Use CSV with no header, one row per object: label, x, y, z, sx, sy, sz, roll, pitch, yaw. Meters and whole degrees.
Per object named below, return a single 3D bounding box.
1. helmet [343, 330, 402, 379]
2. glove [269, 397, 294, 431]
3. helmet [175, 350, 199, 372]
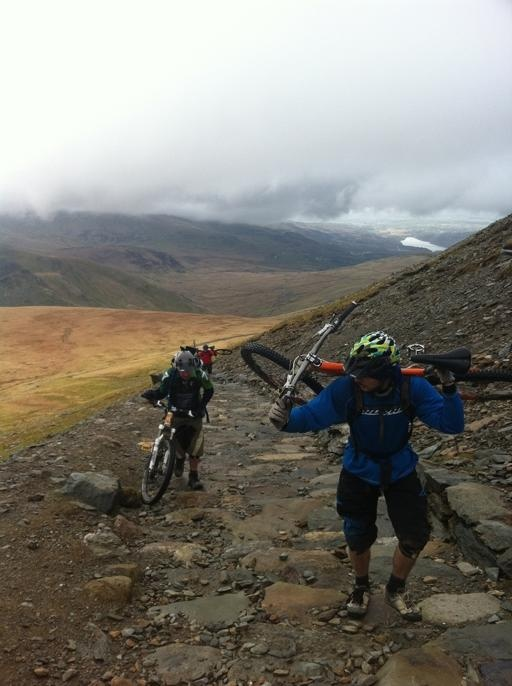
helmet,1.166,0.117,4.488,0.558,0.377,0.369,11,5,-12
glove,0.228,0.656,4.493,0.212,0.309,0.128,33,-15,-10
helmet,-1.439,0.367,9.584,0.409,0.435,0.531,-11,-1,26
